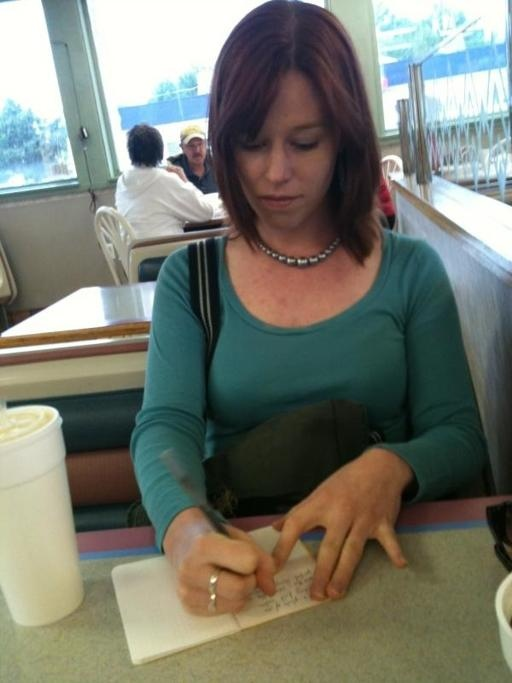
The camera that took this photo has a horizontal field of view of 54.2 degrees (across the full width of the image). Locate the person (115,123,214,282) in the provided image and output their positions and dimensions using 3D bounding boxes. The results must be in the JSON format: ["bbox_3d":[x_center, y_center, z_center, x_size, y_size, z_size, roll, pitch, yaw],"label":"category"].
[{"bbox_3d":[-0.774,-1.185,4.499,0.775,1.430,0.804,-10,32,-11],"label":"person"}]

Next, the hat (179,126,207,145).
[{"bbox_3d":[-0.642,-2.049,5.064,0.259,0.223,0.386,-12,15,-11],"label":"hat"}]
